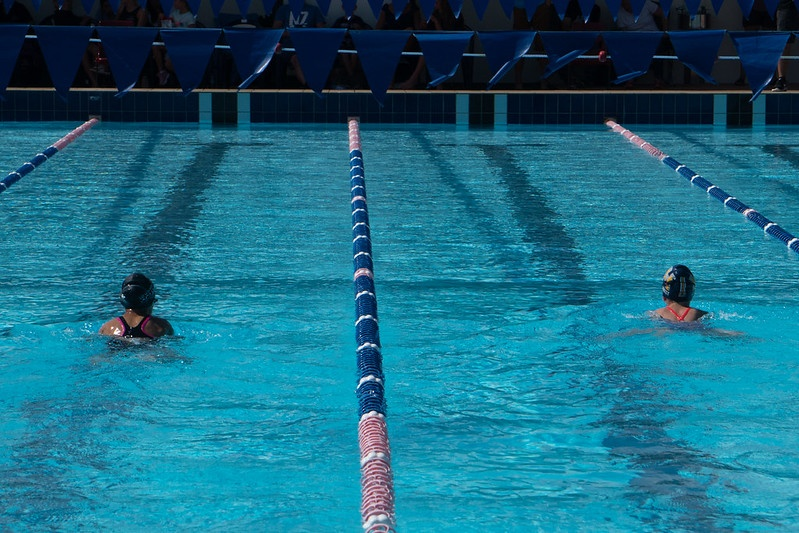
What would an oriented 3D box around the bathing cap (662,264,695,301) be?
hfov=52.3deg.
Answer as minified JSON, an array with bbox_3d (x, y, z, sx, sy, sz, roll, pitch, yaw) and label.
[{"bbox_3d":[1.445,0.081,4.246,0.221,0.168,0.201,0,17,2],"label":"bathing cap"}]

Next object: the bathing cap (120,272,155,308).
[{"bbox_3d":[-1.256,0.112,3.906,0.144,0.189,0.112,1,-16,-16],"label":"bathing cap"}]

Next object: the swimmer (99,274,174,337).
[{"bbox_3d":[-1.268,0.195,3.985,0.451,0.261,0.217,-5,1,1],"label":"swimmer"}]

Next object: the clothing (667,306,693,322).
[{"bbox_3d":[1.478,0.250,4.263,0.119,0.075,0.038,0,-41,6],"label":"clothing"}]
